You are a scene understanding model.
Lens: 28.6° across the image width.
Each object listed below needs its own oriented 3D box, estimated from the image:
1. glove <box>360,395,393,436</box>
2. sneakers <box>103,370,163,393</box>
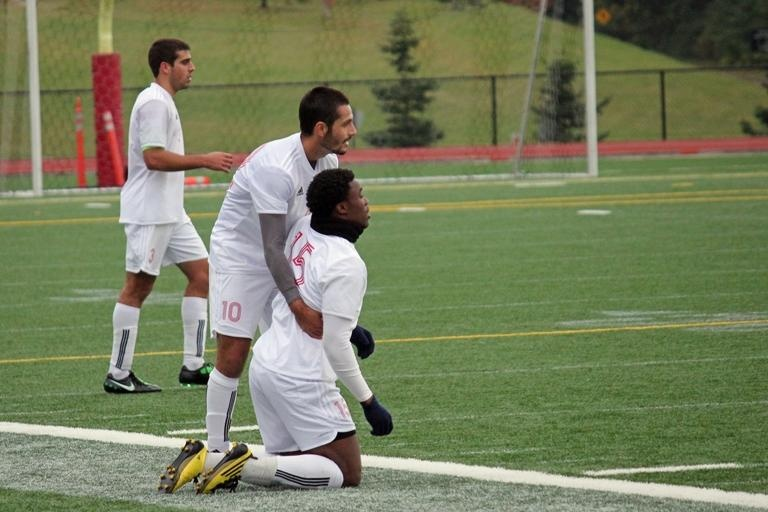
[{"bbox_3d":[-0.054,1.519,14.392,0.269,0.401,0.142,-1,13,5],"label":"glove"},{"bbox_3d":[-2.718,1.367,16.297,0.700,0.257,0.225,1,-4,-8],"label":"sneakers"}]
